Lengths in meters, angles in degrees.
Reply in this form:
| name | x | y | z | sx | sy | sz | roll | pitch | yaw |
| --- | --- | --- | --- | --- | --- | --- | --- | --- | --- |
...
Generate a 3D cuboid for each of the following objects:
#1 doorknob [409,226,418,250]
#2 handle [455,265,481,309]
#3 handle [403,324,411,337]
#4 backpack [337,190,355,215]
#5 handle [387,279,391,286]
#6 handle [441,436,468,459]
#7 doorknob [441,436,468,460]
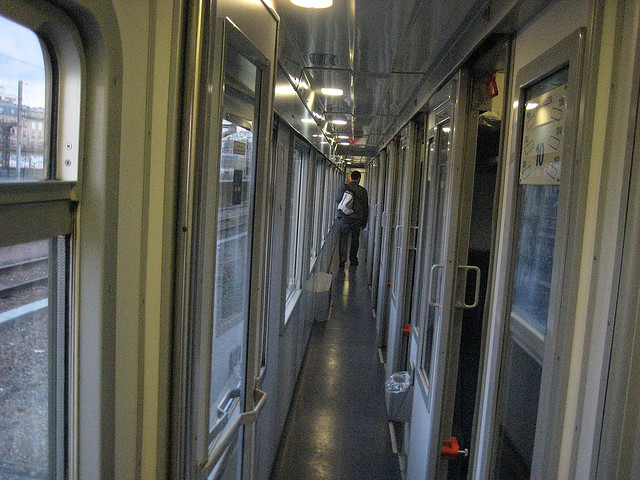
| name | x | y | z | sx | sy | sz | roll | pitch | yaw |
| --- | --- | --- | --- | --- | --- | --- | --- | --- | --- |
| doorknob | 0.914 | -0.020 | 4.830 | 0.043 | 0.238 | 0.108 | 9 | 9 | 30 |
| handle | 0.918 | 0.294 | 3.031 | 0.129 | 0.282 | 0.124 | 6 | 14 | 29 |
| handle | 0.849 | 0.905 | 4.861 | 0.087 | 0.137 | 0.093 | 2 | -2 | 9 |
| backpack | 0.565 | -0.817 | 10.715 | 0.156 | 0.420 | 0.361 | -23 | 56 | -30 |
| handle | 0.893 | 0.564 | 6.419 | 0.026 | 0.075 | 0.098 | 7 | 9 | 16 |
| handle | 0.854 | 1.354 | 3.132 | 0.164 | 0.073 | 0.128 | 10 | 12 | -2 |
| doorknob | 0.854 | 1.328 | 3.116 | 0.150 | 0.065 | 0.120 | 9 | 38 | -4 |
